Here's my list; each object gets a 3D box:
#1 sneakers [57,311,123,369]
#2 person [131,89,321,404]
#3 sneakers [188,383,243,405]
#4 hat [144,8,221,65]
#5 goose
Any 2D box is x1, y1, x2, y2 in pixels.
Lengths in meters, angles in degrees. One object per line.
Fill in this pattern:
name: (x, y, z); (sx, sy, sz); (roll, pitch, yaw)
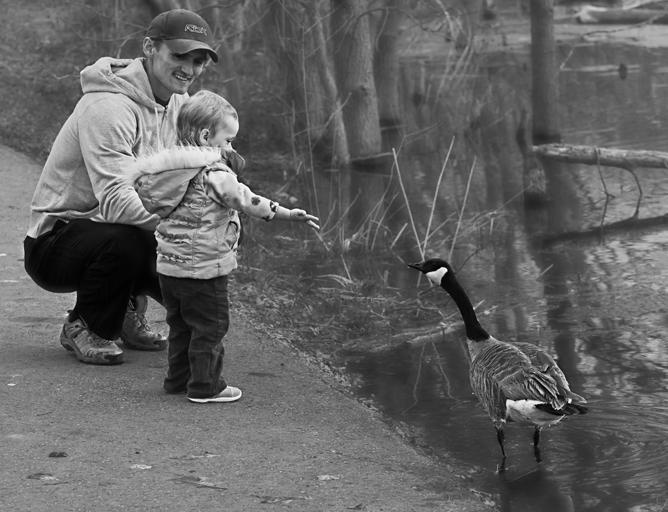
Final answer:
sneakers: (-1.345, 0.476, 5.443); (0.544, 0.185, 0.195); (15, 20, 26)
person: (-0.671, -0.042, 4.948); (0.802, 1.632, 0.321); (2, 6, -4)
sneakers: (-0.621, 0.733, 5.079); (0.292, 0.080, 0.094); (-5, 12, -19)
hat: (-0.878, -1.234, 5.295); (0.436, 0.173, 0.296); (20, 20, 34)
goose: (0.946, 0.530, 5.073); (0.552, 0.946, 0.956); (2, 5, -12)
